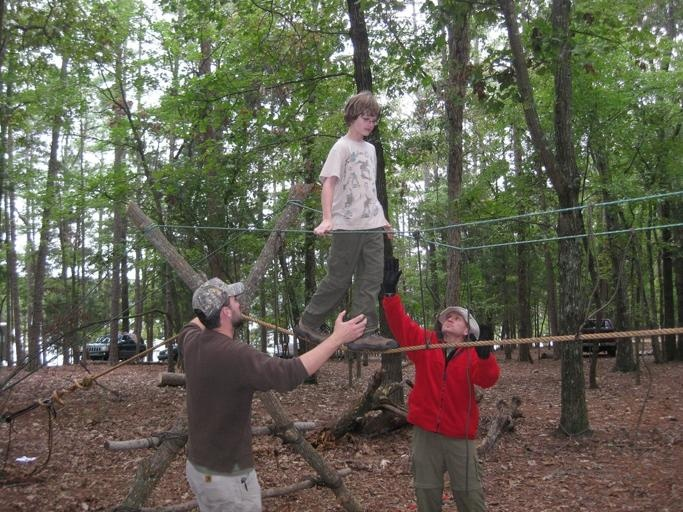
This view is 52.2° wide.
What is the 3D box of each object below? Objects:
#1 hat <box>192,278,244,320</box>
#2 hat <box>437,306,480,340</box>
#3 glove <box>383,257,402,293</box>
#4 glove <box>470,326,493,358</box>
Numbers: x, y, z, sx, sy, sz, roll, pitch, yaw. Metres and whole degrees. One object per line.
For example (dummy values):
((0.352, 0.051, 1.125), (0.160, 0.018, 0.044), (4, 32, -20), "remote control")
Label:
((-1.738, 0.500, 9.597), (0.661, 0.353, 0.411), (-42, 35, -24), "hat")
((1.879, 0.939, 10.456), (0.412, 0.603, 0.193), (-2, 9, 34), "hat")
((0.747, 0.288, 10.437), (0.288, 0.571, 0.603), (-2, -4, 3), "glove")
((2.135, 1.286, 10.365), (0.122, 0.444, 0.311), (2, 9, -17), "glove")
